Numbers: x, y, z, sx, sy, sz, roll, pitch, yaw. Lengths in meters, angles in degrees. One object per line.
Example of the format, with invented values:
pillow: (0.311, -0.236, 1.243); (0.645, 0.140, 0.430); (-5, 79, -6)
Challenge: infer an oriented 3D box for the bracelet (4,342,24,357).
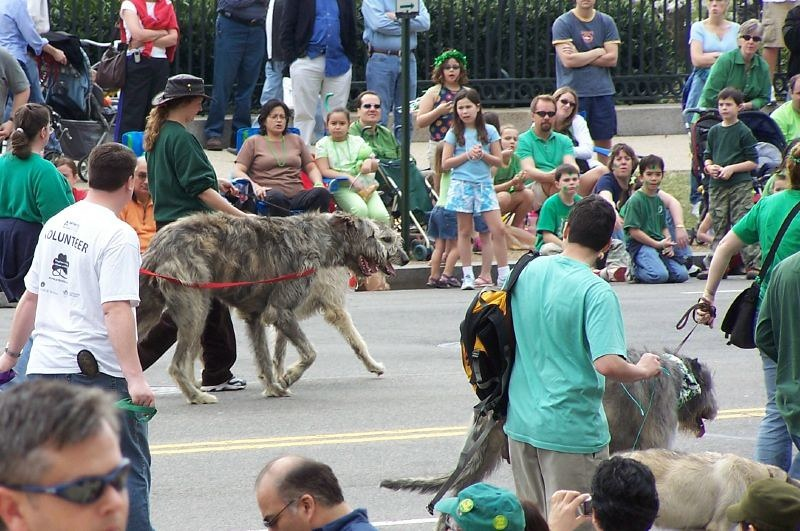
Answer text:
bracelet: (-3.414, 0.750, 14.274); (0.163, 0.065, 0.185); (8, 4, -10)

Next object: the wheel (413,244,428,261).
wheel: (0.301, -0.207, 23.152); (0.234, 0.268, 0.283); (-4, 12, -1)
